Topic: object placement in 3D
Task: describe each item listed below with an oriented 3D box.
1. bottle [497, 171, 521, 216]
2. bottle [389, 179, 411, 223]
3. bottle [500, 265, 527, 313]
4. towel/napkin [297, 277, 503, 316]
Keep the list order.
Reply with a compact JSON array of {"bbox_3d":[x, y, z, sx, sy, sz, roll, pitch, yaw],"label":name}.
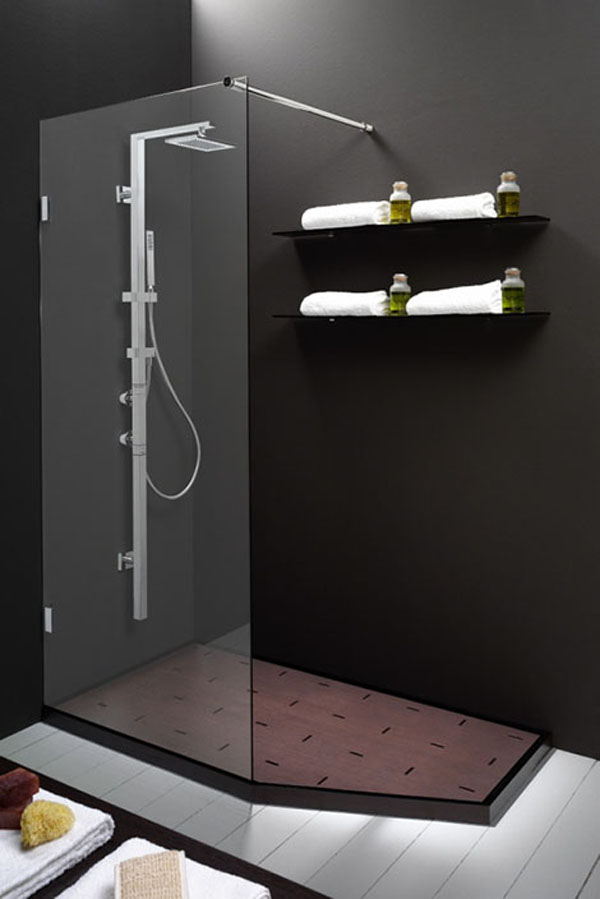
[{"bbox_3d":[0.630,-0.766,2.405,0.057,0.126,0.114,3,8,19],"label":"bottle"},{"bbox_3d":[0.327,-0.809,2.592,0.068,0.151,0.129,-1,7,-11],"label":"bottle"},{"bbox_3d":[0.634,-0.474,2.380,0.065,0.131,0.047,1,7,6],"label":"bottle"},{"bbox_3d":[0.315,-0.488,2.619,0.140,0.103,0.762,-7,11,-44],"label":"towel/napkin"}]
